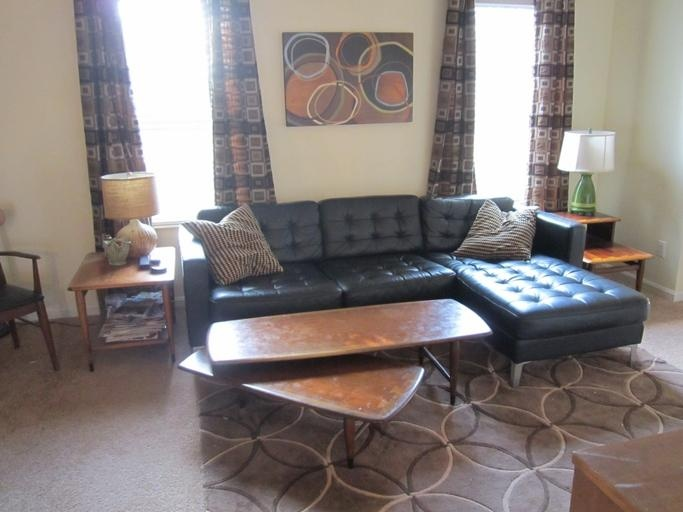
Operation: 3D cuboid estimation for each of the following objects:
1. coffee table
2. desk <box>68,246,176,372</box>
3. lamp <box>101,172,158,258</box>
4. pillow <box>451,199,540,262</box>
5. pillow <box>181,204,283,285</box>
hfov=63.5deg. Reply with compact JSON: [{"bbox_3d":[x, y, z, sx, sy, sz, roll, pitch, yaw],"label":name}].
[{"bbox_3d":[0.042,0.714,3.105,1.698,0.616,1.034,-9,16,-21],"label":"coffee table"},{"bbox_3d":[-1.379,0.332,4.049,0.947,0.808,0.911,-4,23,-12],"label":"desk"},{"bbox_3d":[-1.476,-0.282,3.950,0.364,0.592,0.389,-10,18,-19],"label":"lamp"},{"bbox_3d":[1.199,-0.181,4.266,0.514,0.150,0.478,9,59,31],"label":"pillow"},{"bbox_3d":[-0.750,-0.083,3.926,0.377,0.469,0.552,12,22,41],"label":"pillow"}]
